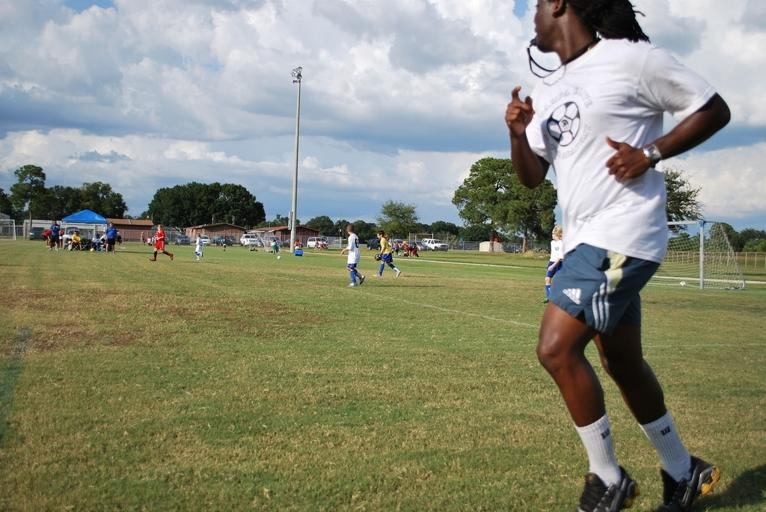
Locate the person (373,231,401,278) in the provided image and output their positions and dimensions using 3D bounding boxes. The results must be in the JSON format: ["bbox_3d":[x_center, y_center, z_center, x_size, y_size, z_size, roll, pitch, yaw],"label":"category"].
[{"bbox_3d":[0.141,-0.089,22.295,1.029,1.831,0.830,-3,2,5],"label":"person"}]

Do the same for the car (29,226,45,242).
[{"bbox_3d":[-43.994,-2.742,71.270,2.230,1.777,2.345,-2,-1,39],"label":"car"}]

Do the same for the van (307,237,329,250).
[{"bbox_3d":[-9.381,-1.873,82.276,1.870,1.587,3.370,-1,-1,-27],"label":"van"}]

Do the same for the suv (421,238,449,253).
[{"bbox_3d":[7.522,-1.706,83.673,1.902,1.416,3.205,-1,0,-35],"label":"suv"}]

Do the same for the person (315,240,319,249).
[{"bbox_3d":[-9.732,-1.634,81.967,0.513,0.982,0.954,-1,17,-25],"label":"person"}]

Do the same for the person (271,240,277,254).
[{"bbox_3d":[-9.553,-0.825,49.341,0.285,1.057,1.898,0,5,-18],"label":"person"}]
